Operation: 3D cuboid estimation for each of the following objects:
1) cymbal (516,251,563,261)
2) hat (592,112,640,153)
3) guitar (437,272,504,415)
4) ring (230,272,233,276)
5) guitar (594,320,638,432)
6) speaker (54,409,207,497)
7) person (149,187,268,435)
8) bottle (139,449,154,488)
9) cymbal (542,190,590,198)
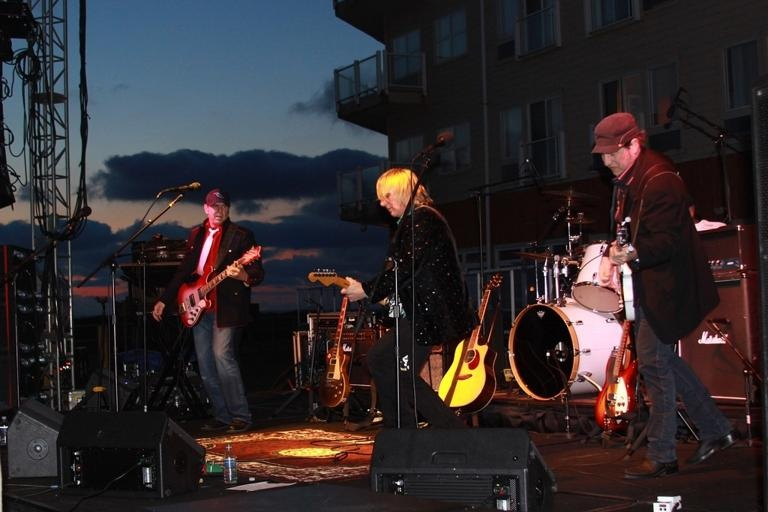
[{"bbox_3d":[2.057,-0.005,14.564,0.647,0.110,0.351,2,-6,-25],"label":"cymbal"},{"bbox_3d":[2.523,-1.351,12.001,0.510,0.256,0.373,-33,28,-19],"label":"hat"},{"bbox_3d":[1.192,1.028,13.729,0.710,1.854,0.251,0,-28,41],"label":"guitar"},{"bbox_3d":[-1.907,0.224,13.751,0.047,0.048,0.013,-3,0,12],"label":"ring"},{"bbox_3d":[2.827,1.124,12.998,0.458,1.876,0.164,-2,-17,43],"label":"guitar"},{"bbox_3d":[-2.590,1.985,11.143,1.458,0.833,0.319,-2,-5,11],"label":"speaker"},{"bbox_3d":[-2.149,0.731,14.066,1.549,3.104,0.976,-2,2,23],"label":"person"},{"bbox_3d":[-2.359,2.122,10.951,0.162,0.353,0.017,-2,-5,9],"label":"bottle"},{"bbox_3d":[2.750,-0.897,16.062,0.344,0.081,0.342,9,-6,-44],"label":"cymbal"}]
